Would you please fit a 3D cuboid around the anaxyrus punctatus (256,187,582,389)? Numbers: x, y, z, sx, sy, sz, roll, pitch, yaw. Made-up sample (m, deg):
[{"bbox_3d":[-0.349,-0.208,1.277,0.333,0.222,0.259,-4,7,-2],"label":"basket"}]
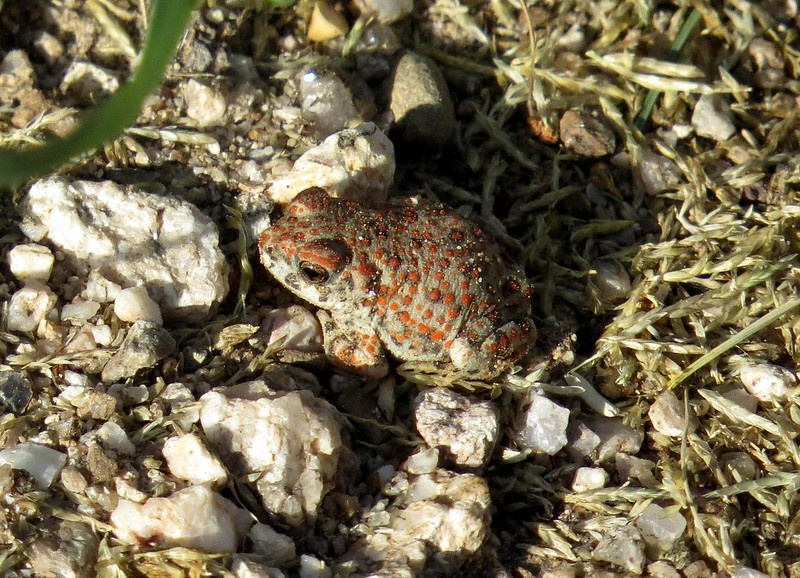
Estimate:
[{"bbox_3d":[0.003,-0.021,4.132,1.411,0.479,0.881,4,69,-5],"label":"anaxyrus punctatus"}]
